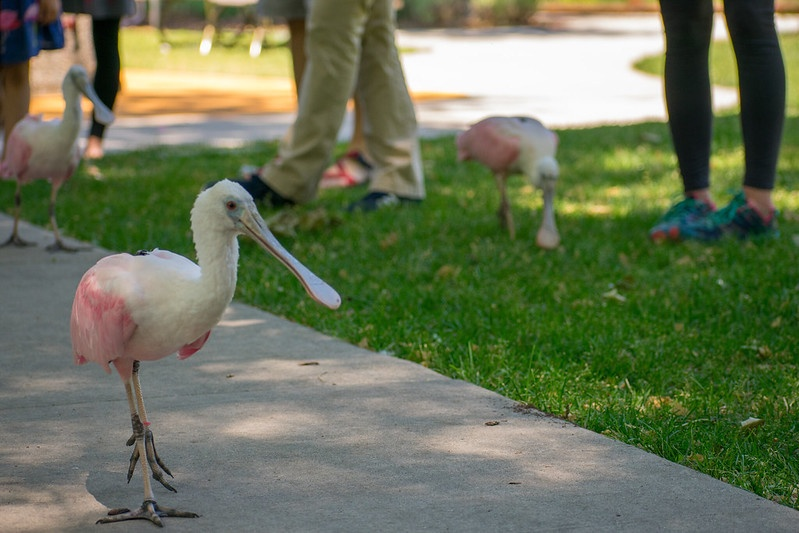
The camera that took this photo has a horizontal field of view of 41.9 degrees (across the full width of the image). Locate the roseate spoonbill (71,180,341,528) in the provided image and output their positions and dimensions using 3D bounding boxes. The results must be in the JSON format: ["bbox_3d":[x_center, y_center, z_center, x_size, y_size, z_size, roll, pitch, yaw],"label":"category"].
[{"bbox_3d":[-0.891,0.330,4.377,1.020,1.350,0.587,-3,10,-8],"label":"roseate spoonbill"}]

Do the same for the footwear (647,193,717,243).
[{"bbox_3d":[1.936,-0.318,7.193,0.606,0.271,0.219,-28,8,-30],"label":"footwear"}]

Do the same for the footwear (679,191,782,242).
[{"bbox_3d":[2.088,-0.313,6.975,0.828,0.340,0.276,0,2,-2],"label":"footwear"}]
